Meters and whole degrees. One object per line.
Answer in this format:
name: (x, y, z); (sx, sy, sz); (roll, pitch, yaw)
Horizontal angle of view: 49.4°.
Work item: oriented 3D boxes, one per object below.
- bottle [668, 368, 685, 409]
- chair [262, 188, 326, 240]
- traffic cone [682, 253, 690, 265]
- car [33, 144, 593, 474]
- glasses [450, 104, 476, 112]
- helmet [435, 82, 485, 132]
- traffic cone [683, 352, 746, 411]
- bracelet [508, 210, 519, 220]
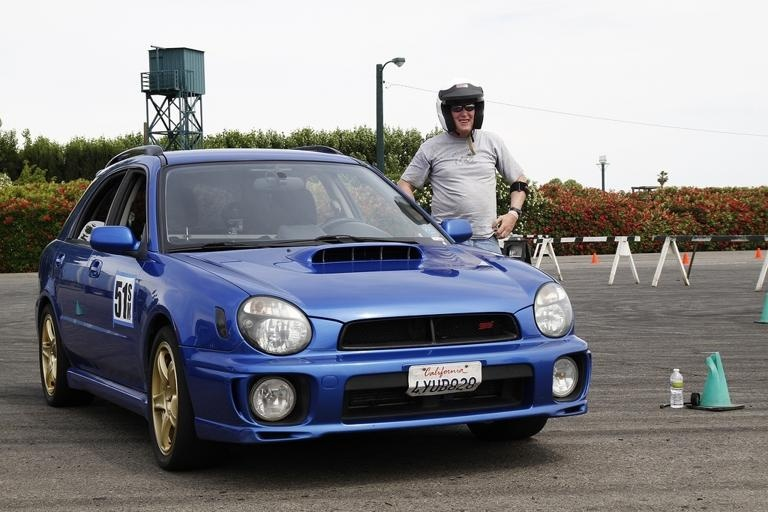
bottle: (2.560, 1.143, 7.282); (0.121, 0.355, 0.363); (0, 3, 19)
chair: (-0.701, -0.356, 6.503); (0.372, 0.399, 0.352); (1, 9, -3)
traffic cone: (10.094, 0.104, 27.829); (0.227, 0.321, 0.238); (-8, 25, -13)
car: (-1.012, 0.245, 6.480); (2.302, 1.659, 3.763); (0, 0, -32)
glasses: (0.773, -1.452, 8.211); (0.215, 0.078, 0.052); (0, 3, 4)
helmet: (0.817, -1.517, 8.412); (0.493, 0.478, 0.601); (-9, 18, -9)
traffic cone: (2.910, 1.091, 7.289); (0.509, 0.481, 0.459); (5, -7, -28)
bracelet: (1.300, -0.429, 8.342); (0.093, 0.028, 0.096); (37, 12, 14)
